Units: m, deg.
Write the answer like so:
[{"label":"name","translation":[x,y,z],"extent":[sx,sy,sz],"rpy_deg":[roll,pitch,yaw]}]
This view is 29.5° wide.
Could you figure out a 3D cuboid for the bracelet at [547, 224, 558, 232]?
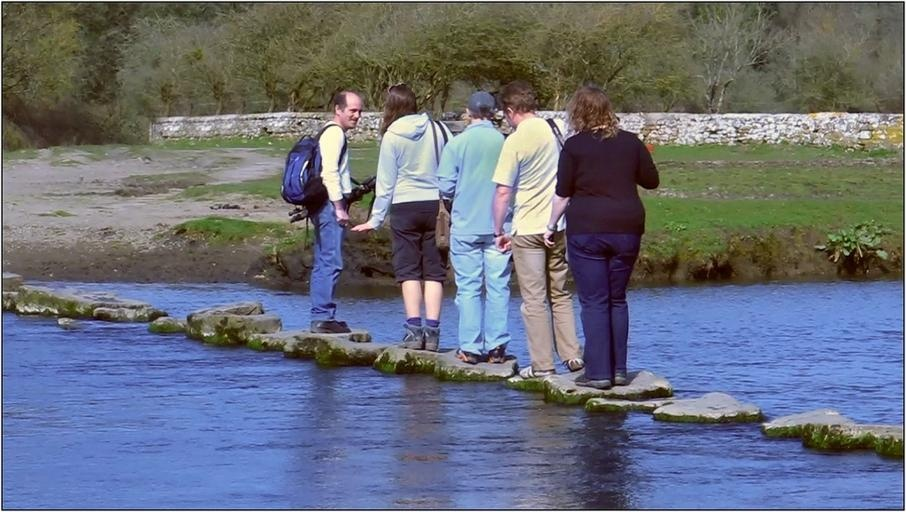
[{"label":"bracelet","translation":[2.680,-0.715,46.604],"extent":[0.208,0.207,0.138],"rpy_deg":[0,12,-6]}]
